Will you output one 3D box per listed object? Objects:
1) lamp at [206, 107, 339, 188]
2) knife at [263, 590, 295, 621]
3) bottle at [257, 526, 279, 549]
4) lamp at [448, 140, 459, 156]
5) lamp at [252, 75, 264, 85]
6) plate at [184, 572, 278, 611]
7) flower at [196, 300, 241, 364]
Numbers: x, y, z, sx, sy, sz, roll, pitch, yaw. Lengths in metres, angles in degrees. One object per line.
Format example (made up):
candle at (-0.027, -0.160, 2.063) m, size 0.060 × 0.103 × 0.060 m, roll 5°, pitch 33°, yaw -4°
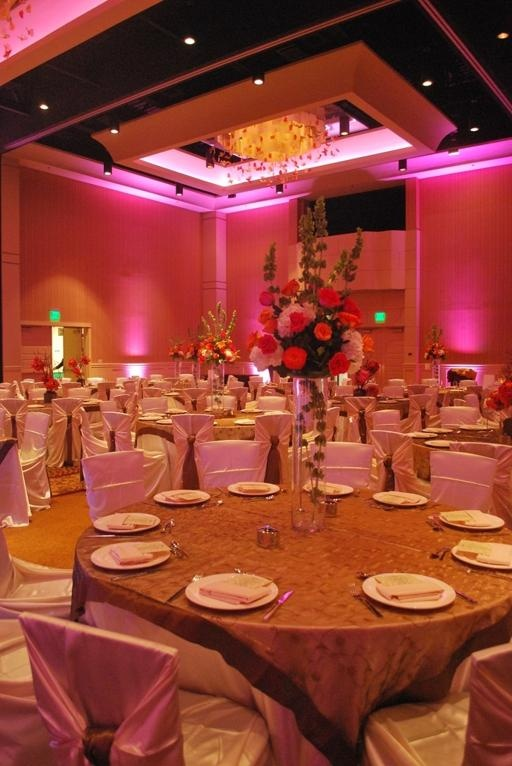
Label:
lamp at (0.368, -5.385, 11.696) m, size 2.141 × 0.834 × 2.142 m, roll 9°, pitch 43°, yaw 38°
knife at (0.053, 0.531, 1.261) m, size 0.020 × 0.010 × 0.194 m, roll 2°, pitch 1°, yaw 18°
bottle at (0.039, 0.512, 1.771) m, size 0.066 × 0.070 × 0.050 m, roll -3°, pitch 8°, yaw -28°
lamp at (4.530, -5.403, 12.150) m, size 0.244 × 0.113 × 0.507 m, roll 3°, pitch 2°, yaw 22°
lamp at (0.025, -4.217, 7.376) m, size 0.136 × 0.070 × 0.250 m, roll 2°, pitch 2°, yaw -3°
plate at (-0.061, 0.523, 1.346) m, size 0.238 × 0.048 × 0.219 m, roll 2°, pitch 2°, yaw 3°
flower at (-0.392, -0.553, 6.108) m, size 0.438 × 0.669 × 0.464 m, roll -5°, pitch -1°, yaw -4°
